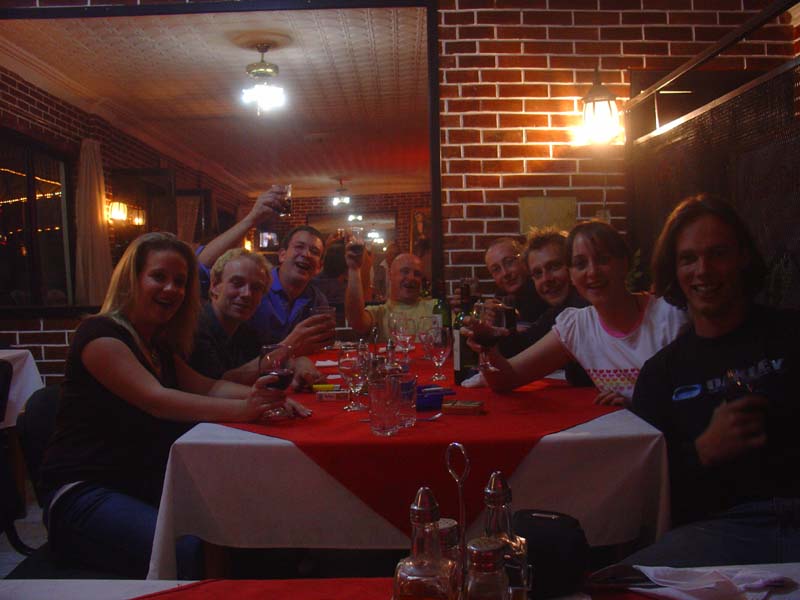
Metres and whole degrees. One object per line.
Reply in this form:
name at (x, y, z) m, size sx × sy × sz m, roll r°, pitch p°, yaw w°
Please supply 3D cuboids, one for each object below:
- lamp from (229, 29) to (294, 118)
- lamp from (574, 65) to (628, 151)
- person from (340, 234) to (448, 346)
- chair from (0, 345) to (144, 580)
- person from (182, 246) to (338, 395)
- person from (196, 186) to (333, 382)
lamp at (-0.766, -1.280, 3.826) m, size 0.368 × 0.393 × 0.362 m, roll -3°, pitch 2°, yaw -44°
lamp at (1.099, -1.043, 3.694) m, size 0.291 × 0.393 × 0.167 m, roll 1°, pitch 3°, yaw 6°
person at (-0.024, -0.070, 3.701) m, size 0.535 × 0.968 × 0.275 m, roll -2°, pitch -11°, yaw -7°
chair at (-1.208, 0.587, 2.406) m, size 0.565 × 0.703 × 0.514 m, roll 0°, pitch -1°, yaw 3°
person at (-0.636, 0.057, 3.170) m, size 0.724 × 0.667 × 0.486 m, roll -16°, pitch -8°, yaw 39°
person at (-0.717, -0.081, 3.477) m, size 0.654 × 1.043 × 0.592 m, roll 12°, pitch -24°, yaw -29°
